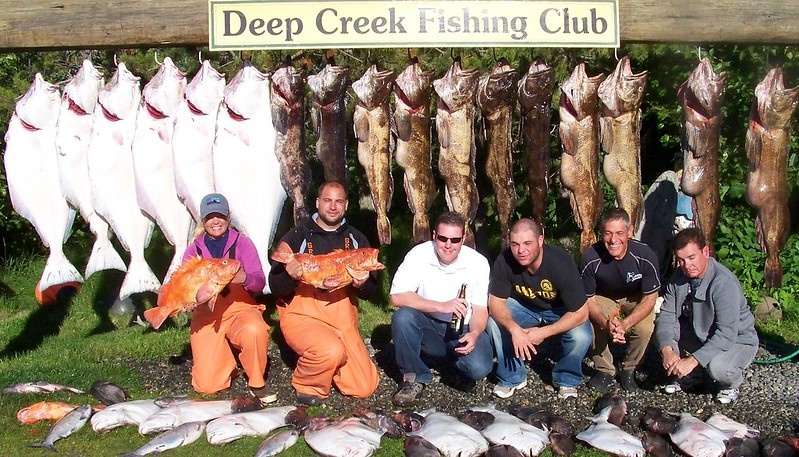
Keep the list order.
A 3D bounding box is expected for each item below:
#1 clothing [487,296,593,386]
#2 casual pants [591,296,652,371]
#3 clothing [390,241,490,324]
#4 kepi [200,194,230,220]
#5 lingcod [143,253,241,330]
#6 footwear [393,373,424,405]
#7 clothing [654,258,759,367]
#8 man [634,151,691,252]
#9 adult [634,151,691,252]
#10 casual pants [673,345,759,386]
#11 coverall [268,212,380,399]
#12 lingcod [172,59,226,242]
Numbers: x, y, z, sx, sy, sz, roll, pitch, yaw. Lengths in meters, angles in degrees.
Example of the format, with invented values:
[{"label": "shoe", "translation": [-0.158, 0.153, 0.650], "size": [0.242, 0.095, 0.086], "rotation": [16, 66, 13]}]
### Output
[{"label": "clothing", "translation": [1.848, 1.519, 9.529], "size": [0.977, 0.571, 1.225], "rotation": [1, 43, 18]}, {"label": "casual pants", "translation": [2.769, 1.393, 9.545], "size": [0.571, 1.073, 0.332], "rotation": [2, 15, 4]}, {"label": "clothing", "translation": [0.509, 0.682, 9.389], "size": [1.179, 0.972, 0.651], "rotation": [3, 6, 8]}, {"label": "kepi", "translation": [-2.214, -0.257, 9.088], "size": [0.349, 0.275, 0.582], "rotation": [-2, 0, -9]}, {"label": "lingcod", "translation": [-2.385, 0.701, 8.785], "size": [1.144, 0.664, 0.311], "rotation": [-9, 18, -10]}, {"label": "footwear", "translation": [0.140, 1.933, 9.297], "size": [0.182, 0.244, 0.528], "rotation": [8, 19, 23]}, {"label": "clothing", "translation": [3.695, 1.063, 9.556], "size": [1.287, 1.378, 1.044], "rotation": [-12, 3, -22]}, {"label": "man", "translation": [3.648, -0.406, 10.524], "size": [0.709, 1.419, 0.489], "rotation": [10, -5, -22]}, {"label": "adult", "translation": [3.624, -0.398, 10.517], "size": [0.709, 1.419, 0.489], "rotation": [10, -5, -22]}, {"label": "casual pants", "translation": [3.966, 1.574, 9.261], "size": [0.725, 0.260, 0.716], "rotation": [-25, 4, 27]}, {"label": "coverall", "translation": [-0.936, 0.961, 9.285], "size": [1.411, 2.176, 1.192], "rotation": [2, 10, -14]}, {"label": "lingcod", "translation": [-2.662, -1.012, 10.103], "size": [0.987, 2.589, 0.528], "rotation": [1, -1, -12]}]
